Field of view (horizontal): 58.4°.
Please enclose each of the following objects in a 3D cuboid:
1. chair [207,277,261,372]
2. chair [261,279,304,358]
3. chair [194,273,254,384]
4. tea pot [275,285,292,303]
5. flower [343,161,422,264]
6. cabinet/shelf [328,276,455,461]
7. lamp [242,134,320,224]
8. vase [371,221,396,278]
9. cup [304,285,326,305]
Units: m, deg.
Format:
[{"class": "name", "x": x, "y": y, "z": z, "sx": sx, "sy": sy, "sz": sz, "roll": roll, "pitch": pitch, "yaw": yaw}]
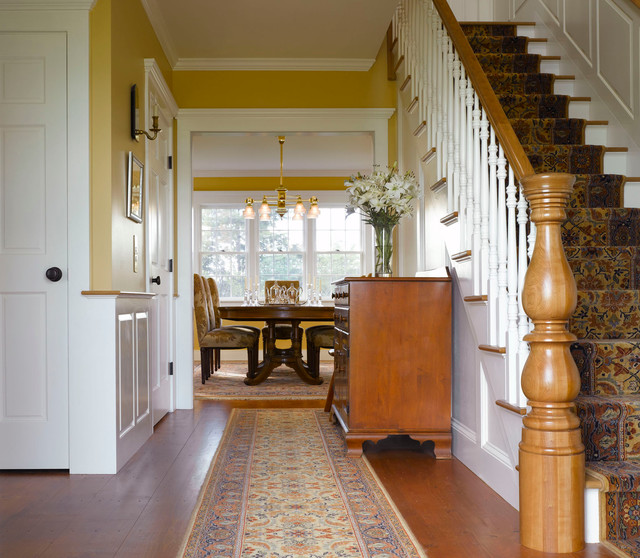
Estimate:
[{"class": "chair", "x": -1.136, "y": 0.564, "z": 7.150, "sx": 0.673, "sy": 1.381, "sz": 0.713, "roll": -2, "pitch": 3, "yaw": 12}, {"class": "chair", "x": -0.508, "y": 0.399, "z": 7.552, "sx": 0.512, "sy": 0.731, "sz": 0.983, "roll": -1, "pitch": -11, "yaw": -13}, {"class": "chair", "x": -1.124, "y": 0.556, "z": 6.962, "sx": 0.636, "sy": 1.285, "sz": 1.227, "roll": -2, "pitch": -1, "yaw": 0}, {"class": "tea pot", "x": -0.467, "y": 0.200, "z": 7.451, "sx": 0.152, "sy": 0.260, "sz": 0.223, "roll": 2, "pitch": 5, "yaw": 0}, {"class": "flower", "x": 0.409, "y": -0.391, "z": 3.834, "sx": 0.468, "sy": 0.745, "sz": 0.262, "roll": 0, "pitch": -1, "yaw": 7}, {"class": "cabinet/shelf", "x": 0.609, "y": 0.489, "z": 3.801, "sx": 0.505, "sy": 1.094, "sz": 1.027, "roll": 3, "pitch": 6, "yaw": 13}, {"class": "lamp", "x": -0.535, "y": -1.303, "z": 7.900, "sx": 0.927, "sy": 1.228, "sz": 1.020, "roll": -3, "pitch": 7, "yaw": -22}, {"class": "vase", "x": 0.418, "y": -0.185, "z": 3.791, "sx": 0.118, "sy": 0.354, "sz": 0.373, "roll": 0, "pitch": -1, "yaw": 6}, {"class": "cup", "x": -0.088, "y": 0.211, "z": 8.753, "sx": 0.243, "sy": 0.344, "sz": 0.301, "roll": -1, "pitch": 4, "yaw": -13}]
